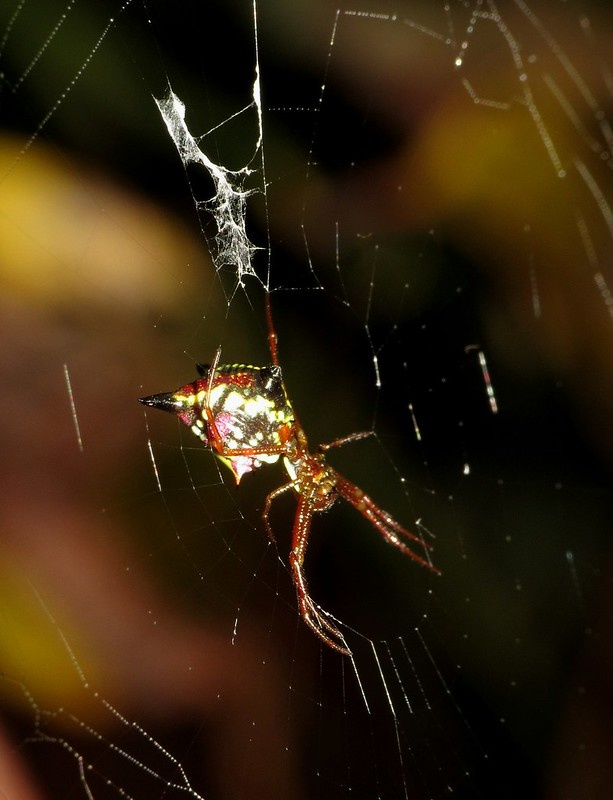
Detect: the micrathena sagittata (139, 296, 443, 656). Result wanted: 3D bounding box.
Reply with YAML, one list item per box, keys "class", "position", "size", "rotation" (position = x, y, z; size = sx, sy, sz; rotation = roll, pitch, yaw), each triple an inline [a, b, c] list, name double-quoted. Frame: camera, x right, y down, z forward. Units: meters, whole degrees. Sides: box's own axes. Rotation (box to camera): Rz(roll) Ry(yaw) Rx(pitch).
- class: "micrathena sagittata"
  position: [-0.030, 0.130, 1.702]
  size: [0.357, 0.181, 0.706]
  rotation: [-18, 65, -36]
